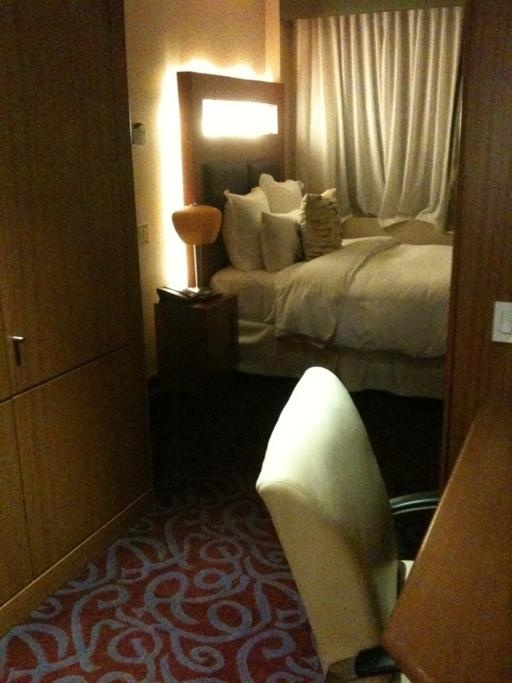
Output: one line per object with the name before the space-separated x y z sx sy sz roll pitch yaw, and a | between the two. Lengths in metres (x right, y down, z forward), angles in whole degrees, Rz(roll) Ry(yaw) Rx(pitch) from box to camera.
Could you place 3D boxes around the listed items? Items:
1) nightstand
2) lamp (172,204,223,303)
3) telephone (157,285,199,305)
nightstand | -0.376 -0.016 3.716 0.485 0.740 0.759 2 6 21
lamp | -0.374 -0.561 3.482 0.302 0.542 0.406 -7 16 -25
telephone | -0.454 -0.275 3.359 0.150 0.054 0.134 5 22 11
